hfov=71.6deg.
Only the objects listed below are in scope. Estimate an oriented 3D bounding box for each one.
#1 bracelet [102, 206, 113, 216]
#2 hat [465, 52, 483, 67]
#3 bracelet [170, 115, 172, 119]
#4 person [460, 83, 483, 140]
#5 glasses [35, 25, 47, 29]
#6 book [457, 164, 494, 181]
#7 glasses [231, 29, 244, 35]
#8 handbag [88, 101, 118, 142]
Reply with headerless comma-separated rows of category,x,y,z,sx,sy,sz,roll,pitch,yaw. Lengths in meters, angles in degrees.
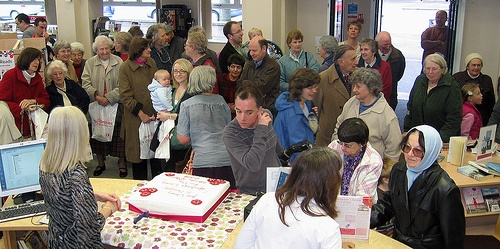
bracelet,-1.755,1.065,4.265,0.105,0.080,0.118,-1,-4,33
hat,4.746,-1.400,7.390,0.355,0.245,0.312,-1,30,3
bracelet,-1.367,-0.139,6.023,0.051,0.065,0.021,5,6,15
person,4.066,-0.255,6.359,0.384,0.950,0.927,7,11,30
glasses,-5.408,-2.517,8.986,0.159,0.079,0.153,-7,6,-36
book,3.466,0.737,5.337,0.271,0.051,0.277,-5,13,-24
glasses,-0.241,-1.901,7.177,0.259,0.104,0.095,-7,13,-43
handbag,-2.902,-0.094,6.902,0.878,0.943,0.182,4,2,12
